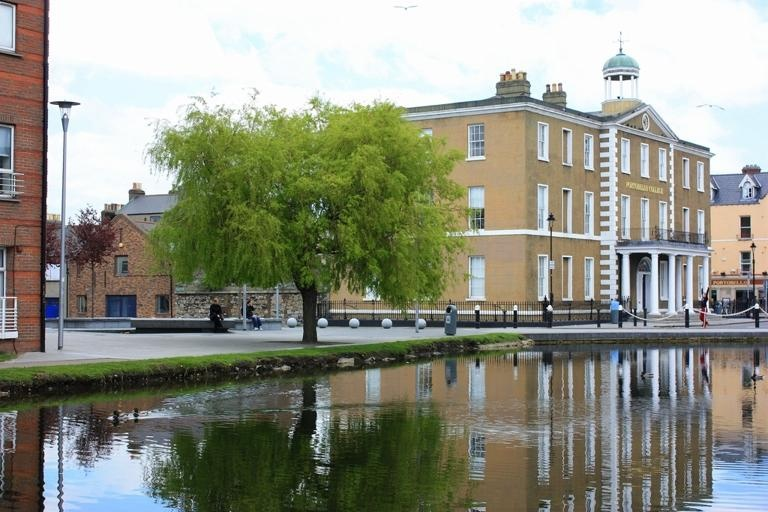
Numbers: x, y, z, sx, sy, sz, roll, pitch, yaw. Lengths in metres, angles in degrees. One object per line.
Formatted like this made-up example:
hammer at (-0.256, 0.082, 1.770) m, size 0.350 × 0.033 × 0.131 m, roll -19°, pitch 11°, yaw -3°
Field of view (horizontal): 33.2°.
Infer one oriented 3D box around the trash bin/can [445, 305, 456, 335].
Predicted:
trash bin/can at (2.813, 2.785, 54.919) m, size 0.419 × 1.232 × 0.483 m, roll 1°, pitch -5°, yaw -3°

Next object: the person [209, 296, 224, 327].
person at (-7.654, 2.764, 59.105) m, size 0.624 × 1.393 × 1.183 m, roll 2°, pitch -5°, yaw -7°
